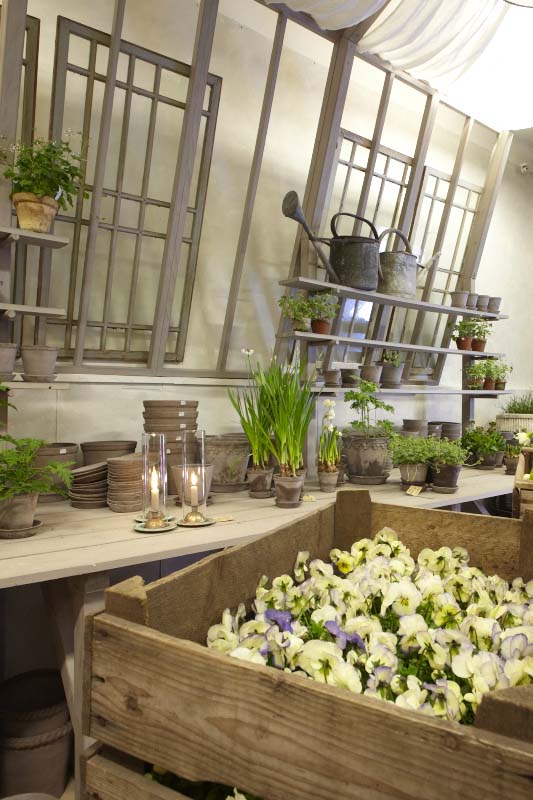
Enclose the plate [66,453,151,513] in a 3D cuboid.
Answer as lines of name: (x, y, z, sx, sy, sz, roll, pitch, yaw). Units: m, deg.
plate: (-0.713, 0.349, 2.543, 0.267, 0.154, 0.335, -1, -2, 2)
